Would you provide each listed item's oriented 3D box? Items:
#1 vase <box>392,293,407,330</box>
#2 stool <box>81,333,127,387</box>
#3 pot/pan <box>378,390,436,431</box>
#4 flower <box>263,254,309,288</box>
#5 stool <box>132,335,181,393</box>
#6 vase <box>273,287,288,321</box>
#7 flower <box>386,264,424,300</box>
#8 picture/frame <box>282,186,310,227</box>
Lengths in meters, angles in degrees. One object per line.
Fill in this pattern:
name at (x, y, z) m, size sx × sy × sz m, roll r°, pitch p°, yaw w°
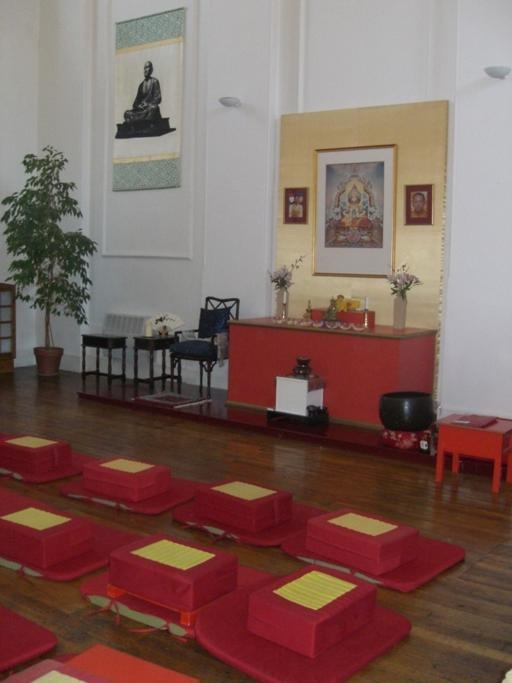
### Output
vase at (1.392, -0.285, 5.656) m, size 0.120 × 0.325 × 0.240 m, roll -2°, pitch 8°, yaw 32°
stool at (-1.952, 0.224, 7.478) m, size 0.649 × 0.584 × 0.297 m, roll 4°, pitch 3°, yaw 38°
pot/pan at (1.233, 0.578, 4.729) m, size 0.359 × 0.240 × 0.365 m, roll -1°, pitch 2°, yaw 27°
flower at (0.311, -0.768, 6.567) m, size 0.435 × 0.366 × 0.683 m, roll -4°, pitch 7°, yaw 13°
stool at (-1.251, 0.270, 7.089) m, size 0.379 × 0.558 × 0.576 m, roll 4°, pitch -3°, yaw -39°
vase at (0.267, -0.419, 6.238) m, size 0.124 × 0.302 × 0.219 m, roll -4°, pitch 7°, yaw 11°
flower at (1.498, -0.589, 5.818) m, size 0.360 × 0.380 × 0.383 m, roll -4°, pitch 4°, yaw -28°
picture/frame at (0.479, -1.576, 6.721) m, size 0.457 × 0.595 × 0.047 m, roll 7°, pitch 10°, yaw 34°
